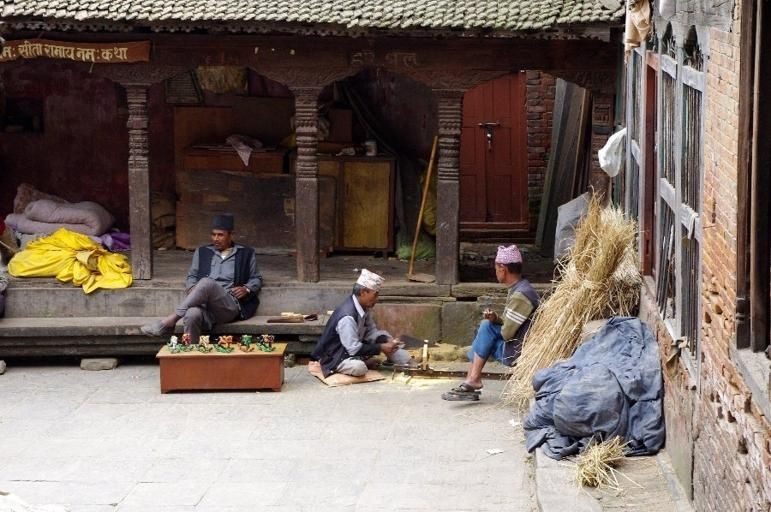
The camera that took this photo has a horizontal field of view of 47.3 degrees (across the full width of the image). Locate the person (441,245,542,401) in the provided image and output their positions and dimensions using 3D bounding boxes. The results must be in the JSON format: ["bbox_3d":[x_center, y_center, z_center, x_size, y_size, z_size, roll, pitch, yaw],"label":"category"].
[{"bbox_3d":[1.166,0.764,9.404,0.961,1.671,0.535,-2,14,-4],"label":"person"}]

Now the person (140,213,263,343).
[{"bbox_3d":[-2.214,0.254,10.783,0.701,1.362,1.341,9,18,36],"label":"person"}]

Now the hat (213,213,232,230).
[{"bbox_3d":[-2.029,-0.414,10.970,0.245,0.180,0.244,-3,8,-24],"label":"hat"}]

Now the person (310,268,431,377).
[{"bbox_3d":[-0.265,0.802,10.473,1.333,1.235,0.938,-1,9,-23],"label":"person"}]

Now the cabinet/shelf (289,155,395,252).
[{"bbox_3d":[-0.607,-0.745,13.247,1.628,1.487,0.609,2,5,15],"label":"cabinet/shelf"}]

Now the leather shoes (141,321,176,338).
[{"bbox_3d":[-2.782,0.897,10.687,0.405,0.171,0.193,2,21,-9],"label":"leather shoes"}]

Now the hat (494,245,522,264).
[{"bbox_3d":[1.340,-0.006,9.453,0.249,0.167,0.247,2,7,38],"label":"hat"}]

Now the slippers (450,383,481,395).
[{"bbox_3d":[0.891,1.430,9.435,0.249,0.075,0.136,2,-4,-8],"label":"slippers"}]

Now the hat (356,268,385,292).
[{"bbox_3d":[-0.195,0.297,10.253,0.294,0.246,0.340,0,14,4],"label":"hat"}]
